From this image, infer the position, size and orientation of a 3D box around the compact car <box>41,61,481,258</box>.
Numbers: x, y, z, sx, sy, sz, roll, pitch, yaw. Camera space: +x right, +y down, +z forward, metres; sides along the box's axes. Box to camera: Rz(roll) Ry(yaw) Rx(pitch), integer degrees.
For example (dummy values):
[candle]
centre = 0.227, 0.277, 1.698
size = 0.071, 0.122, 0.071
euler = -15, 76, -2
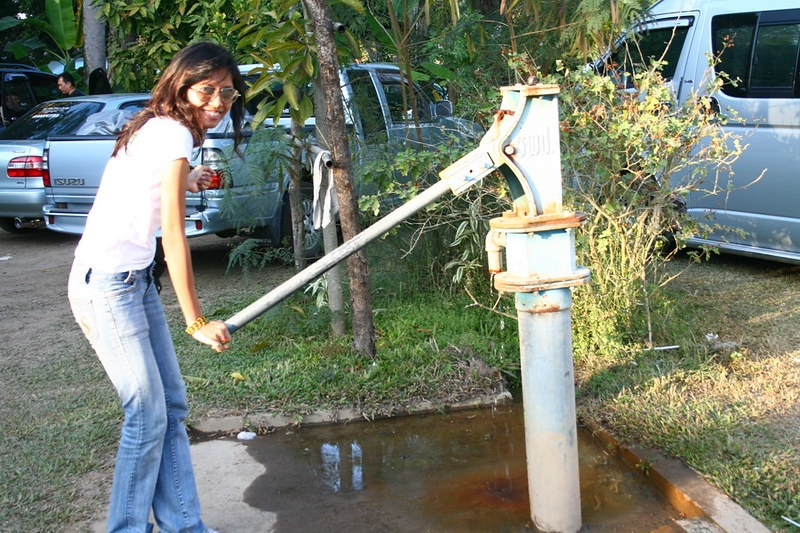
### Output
[compact car]
centre = -0.509, -1.194, 7.323
size = 2.415, 1.605, 4.520
euler = 8, 20, 39

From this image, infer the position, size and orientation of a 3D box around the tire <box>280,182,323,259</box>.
[tire]
centre = -1.206, -0.497, 7.250
size = 0.273, 0.805, 0.807
euler = -3, -9, 24

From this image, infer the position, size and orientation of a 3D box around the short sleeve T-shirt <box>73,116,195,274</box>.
[short sleeve T-shirt]
centre = -1.290, -0.330, 2.963
size = 0.593, 0.724, 0.219
euler = 2, 14, 17
